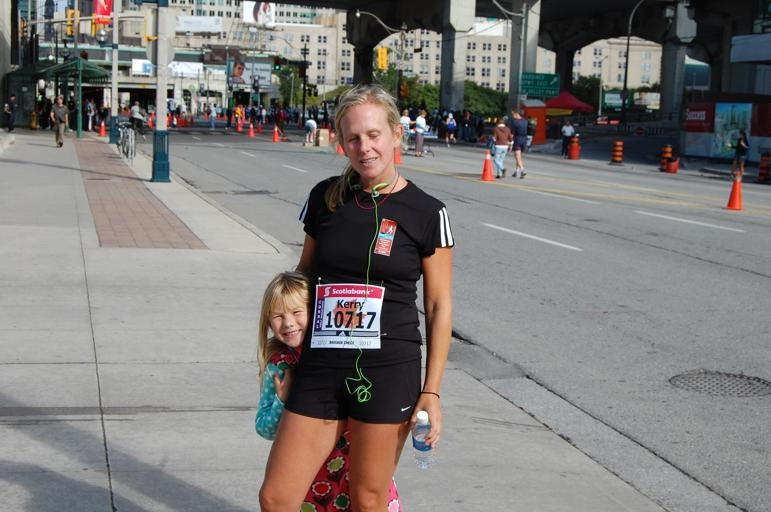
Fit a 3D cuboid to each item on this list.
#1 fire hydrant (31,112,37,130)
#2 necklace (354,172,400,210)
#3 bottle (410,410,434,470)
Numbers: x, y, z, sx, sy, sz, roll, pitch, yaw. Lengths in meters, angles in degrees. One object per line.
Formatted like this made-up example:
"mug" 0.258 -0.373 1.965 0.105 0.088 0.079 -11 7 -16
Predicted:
"fire hydrant" -24.383 -9.482 52.405 0.267 1.075 0.854 1 12 -6
"necklace" -0.062 -0.379 4.381 0.184 0.081 0.251 5 54 28
"bottle" 0.211 1.055 4.281 0.117 0.356 0.117 2 11 0
